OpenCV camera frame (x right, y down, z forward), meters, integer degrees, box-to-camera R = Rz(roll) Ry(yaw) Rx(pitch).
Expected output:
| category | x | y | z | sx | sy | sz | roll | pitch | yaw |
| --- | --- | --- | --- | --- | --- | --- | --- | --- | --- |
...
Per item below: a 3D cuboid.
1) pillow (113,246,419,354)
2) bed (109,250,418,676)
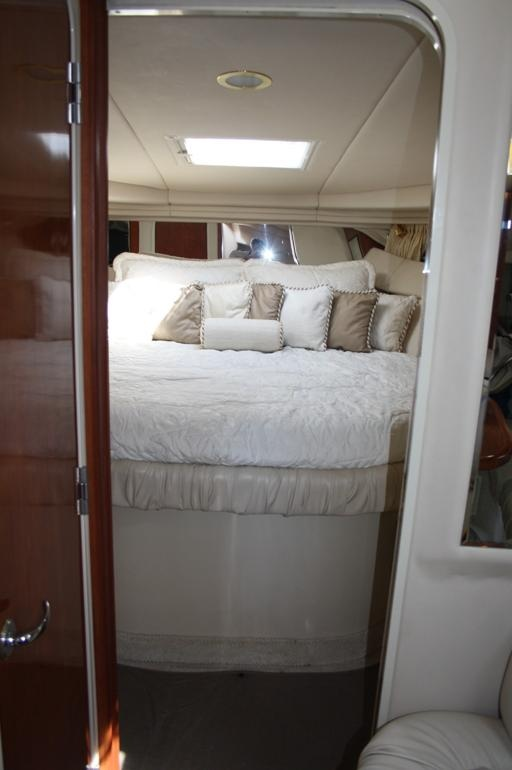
| category | x | y | z | sx | sy | sz | roll | pitch | yaw |
| --- | --- | --- | --- | --- | --- | --- | --- | --- | --- |
| pillow | 0.079 | -0.402 | 2.644 | 1.021 | 0.663 | 0.327 | 3 | 13 | 8 |
| bed | 0.015 | 0.280 | 2.422 | 1.046 | 1.006 | 1.566 | 1 | 32 | -2 |
